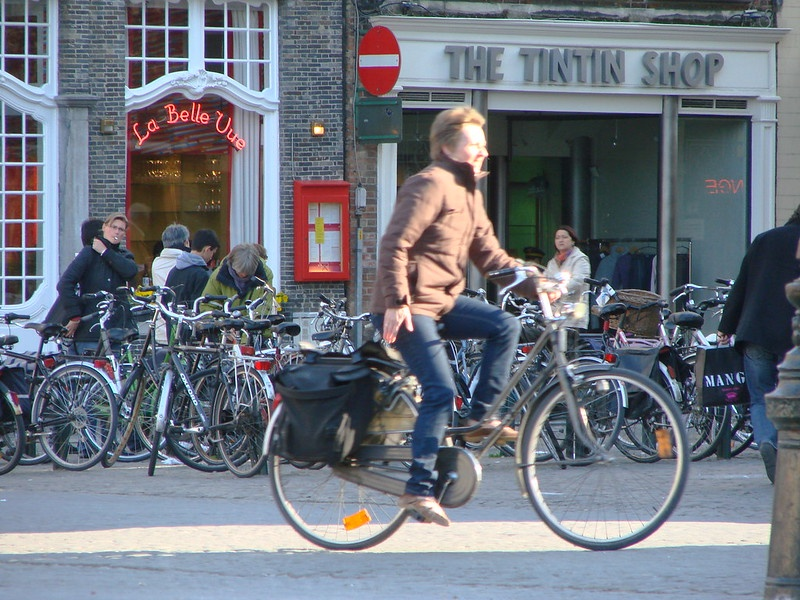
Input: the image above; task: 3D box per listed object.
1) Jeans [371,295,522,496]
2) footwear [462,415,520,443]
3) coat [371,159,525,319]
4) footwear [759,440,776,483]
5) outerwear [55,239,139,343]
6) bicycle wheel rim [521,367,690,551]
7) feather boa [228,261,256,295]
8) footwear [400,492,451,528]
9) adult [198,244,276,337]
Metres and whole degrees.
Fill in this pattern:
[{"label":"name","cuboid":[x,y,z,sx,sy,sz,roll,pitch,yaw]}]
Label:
[{"label":"Jeans","cuboid":[0.509,0.885,20.556,1.082,1.813,0.350,-1,3,-18]},{"label":"footwear","cuboid":[0.851,1.207,20.499,0.542,0.242,0.202,-2,-2,2]},{"label":"coat","cuboid":[0.218,-0.579,21.108,1.317,1.468,1.793,3,2,34]},{"label":"footwear","cuboid":[3.712,1.617,22.253,0.137,0.449,0.189,-8,0,17]},{"label":"outerwear","cuboid":[-3.377,-0.122,24.759,0.921,1.146,0.592,-1,3,-23]},{"label":"bicycle wheel rim","cuboid":[1.856,1.444,20.326,1.563,1.677,0.412,0,2,3]},{"label":"feather boa","cuboid":[-1.750,-0.226,24.413,0.302,0.408,0.215,0,2,-7]},{"label":"footwear","cuboid":[0.223,1.905,20.476,0.572,0.243,0.203,23,-6,-9]},{"label":"adult","cuboid":[-1.807,0.116,24.683,0.841,1.612,0.530,-2,25,-11]}]
